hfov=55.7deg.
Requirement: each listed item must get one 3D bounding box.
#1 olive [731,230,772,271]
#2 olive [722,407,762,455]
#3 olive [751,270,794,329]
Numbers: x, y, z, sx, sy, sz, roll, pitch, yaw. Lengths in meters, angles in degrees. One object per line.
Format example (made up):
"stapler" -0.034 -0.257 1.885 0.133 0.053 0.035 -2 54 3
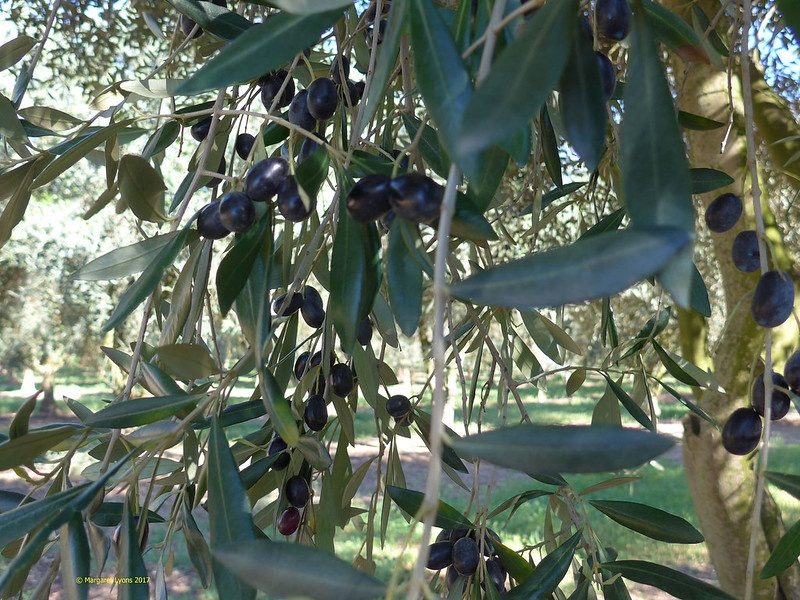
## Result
"olive" 0.512 -0.069 1.107 0.046 0.080 0.040 4 -8 -7
"olive" 0.493 0.183 1.097 0.070 0.048 0.040 -56 5 -38
"olive" 0.478 0.000 0.969 0.044 0.043 0.079 26 50 -4
